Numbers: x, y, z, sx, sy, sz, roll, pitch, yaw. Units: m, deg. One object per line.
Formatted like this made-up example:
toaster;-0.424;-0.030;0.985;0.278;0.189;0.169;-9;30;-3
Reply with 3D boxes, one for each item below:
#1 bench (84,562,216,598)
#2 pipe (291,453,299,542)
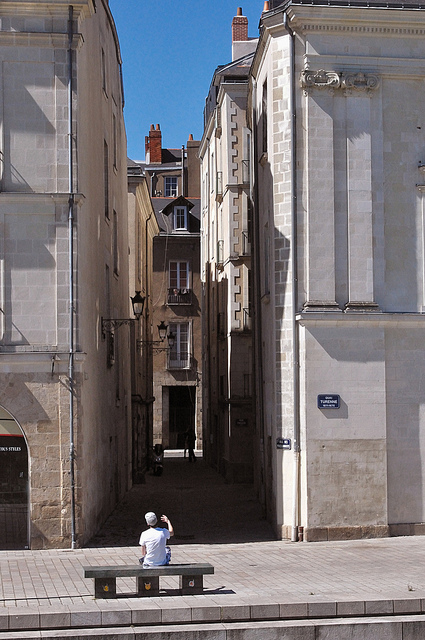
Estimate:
bench;-0.891;3.567;17.693;1.713;0.431;0.849;1;-8;-9
pipe;1.484;3.214;23.516;0.151;1.595;0.151;-1;-5;4
